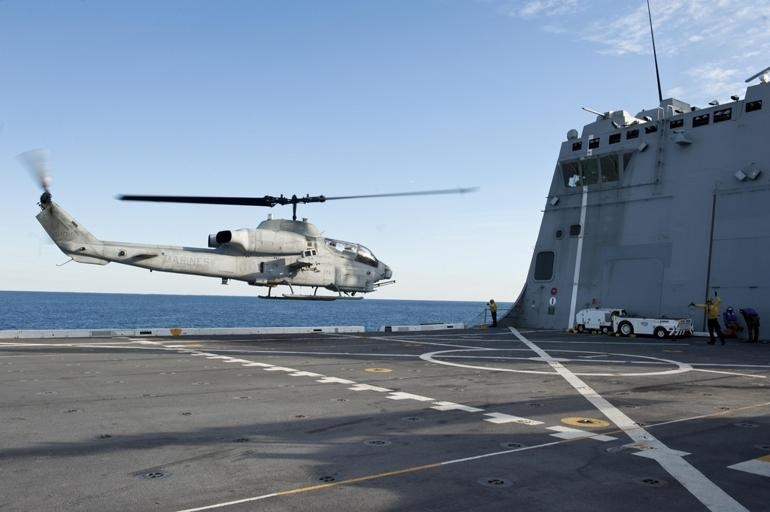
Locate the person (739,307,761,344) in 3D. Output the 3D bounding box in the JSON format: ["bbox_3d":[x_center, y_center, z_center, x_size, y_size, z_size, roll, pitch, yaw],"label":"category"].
[{"bbox_3d":[15.102,2.821,26.200,0.743,1.029,1.003,2,0,24],"label":"person"}]

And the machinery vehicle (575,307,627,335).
[{"bbox_3d":[10.158,3.046,30.105,2.189,0.747,1.354,-2,-3,36],"label":"machinery vehicle"}]
